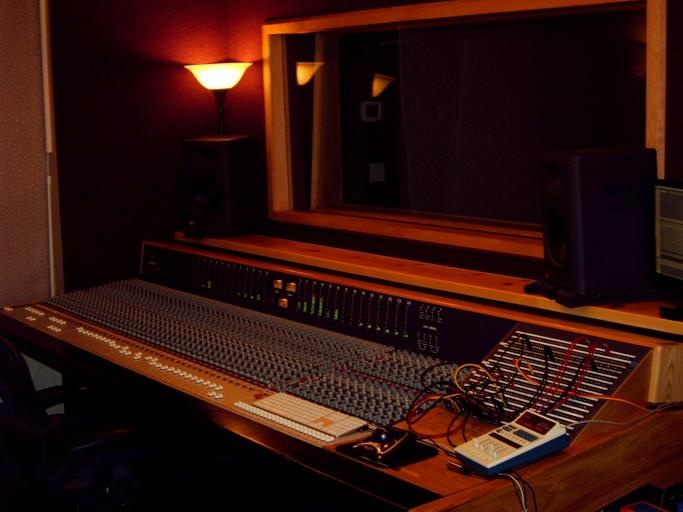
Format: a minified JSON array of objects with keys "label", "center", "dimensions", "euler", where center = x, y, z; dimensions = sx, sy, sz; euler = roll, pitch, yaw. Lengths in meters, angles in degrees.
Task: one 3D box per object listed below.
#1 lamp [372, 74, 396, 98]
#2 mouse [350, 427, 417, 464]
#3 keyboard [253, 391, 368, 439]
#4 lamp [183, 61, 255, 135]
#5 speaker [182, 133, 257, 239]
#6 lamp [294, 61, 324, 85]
[{"label":"lamp","center":[0.195,-0.796,2.626],"dimensions":[0.082,0.100,0.094],"euler":[12,40,15]},{"label":"mouse","center":[0.100,0.464,1.412],"dimensions":[0.116,0.047,0.131],"euler":[8,11,40]},{"label":"keyboard","center":[-0.093,0.439,1.580],"dimensions":[0.327,0.019,0.119],"euler":[8,10,39]},{"label":"lamp","center":[-0.680,-0.865,3.096],"dimensions":[0.295,0.383,0.393],"euler":[-5,10,-39]},{"label":"speaker","center":[-0.607,-0.368,2.892],"dimensions":[0.376,0.487,0.152],"euler":[-1,8,-14]},{"label":"lamp","center":[-0.176,-0.945,2.912],"dimensions":[0.145,0.099,0.110],"euler":[5,14,23]}]
